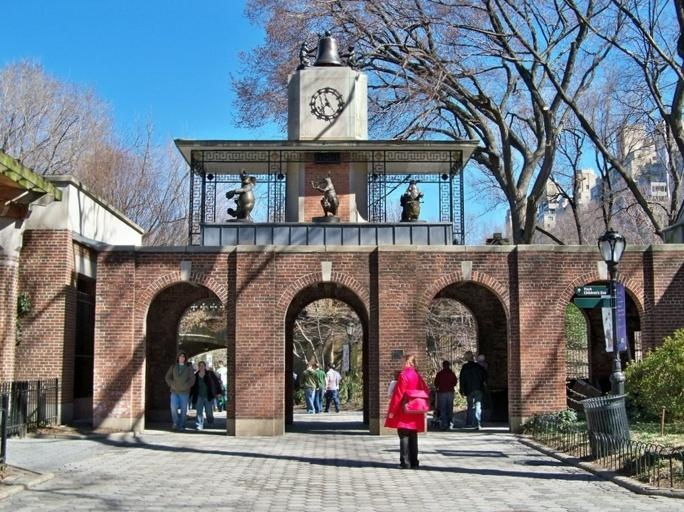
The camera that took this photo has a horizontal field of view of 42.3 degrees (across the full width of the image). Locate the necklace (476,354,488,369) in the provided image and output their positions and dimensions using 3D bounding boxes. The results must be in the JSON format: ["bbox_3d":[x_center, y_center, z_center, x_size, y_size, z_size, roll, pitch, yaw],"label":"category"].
[{"bbox_3d":[4.769,3.594,29.928,0.315,0.265,0.831,17,-46,28],"label":"necklace"}]

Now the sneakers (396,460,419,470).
[{"bbox_3d":[1.595,4.947,20.926,0.462,0.230,0.172,-1,-6,-1],"label":"sneakers"}]

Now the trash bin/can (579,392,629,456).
[{"bbox_3d":[6.282,4.053,20.906,1.015,1.514,1.269,-2,0,17],"label":"trash bin/can"}]
